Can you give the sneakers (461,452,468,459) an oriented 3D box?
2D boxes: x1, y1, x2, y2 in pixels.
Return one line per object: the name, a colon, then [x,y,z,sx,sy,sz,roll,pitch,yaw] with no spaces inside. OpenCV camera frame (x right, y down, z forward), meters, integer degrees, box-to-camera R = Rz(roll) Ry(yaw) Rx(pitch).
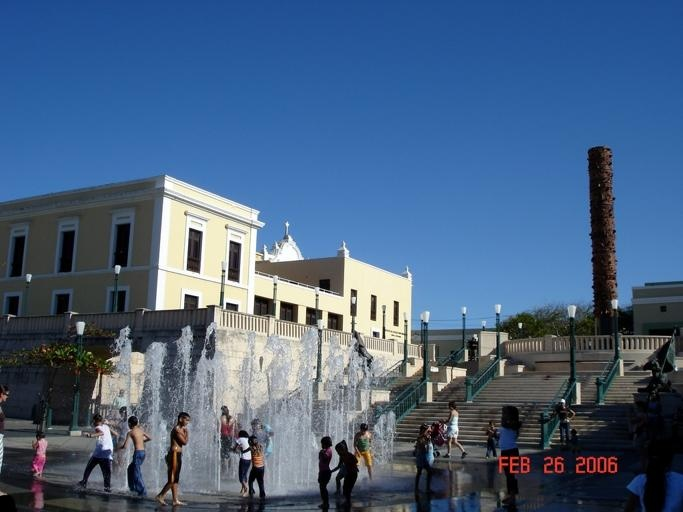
sneakers: [4.234,6.862,22.180,0.138,0.297,0.301,-4,-14,20]
